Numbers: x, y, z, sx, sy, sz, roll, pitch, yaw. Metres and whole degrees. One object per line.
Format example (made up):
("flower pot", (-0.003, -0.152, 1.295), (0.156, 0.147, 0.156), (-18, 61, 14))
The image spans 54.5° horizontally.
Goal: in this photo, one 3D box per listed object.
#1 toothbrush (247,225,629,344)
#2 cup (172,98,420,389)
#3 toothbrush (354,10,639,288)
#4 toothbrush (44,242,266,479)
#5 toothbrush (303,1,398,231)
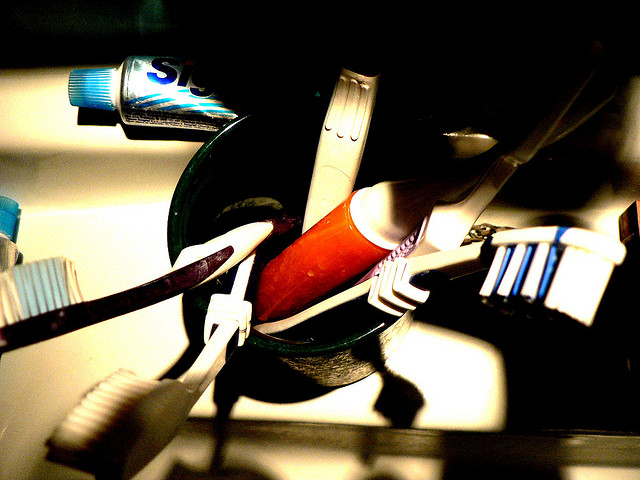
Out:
("toothbrush", (0.110, 0.043, 0.614), (0.292, 0.072, 0.050), (-18, -15, 31))
("cup", (-0.030, -0.020, 0.678), (0.278, 0.322, 0.186), (-1, -5, 1))
("toothbrush", (0.197, -0.094, 0.667), (0.046, 0.384, 0.055), (47, 15, 24))
("toothbrush", (-0.118, 0.076, 0.610), (0.056, 0.045, 0.387), (6, 24, 15))
("toothbrush", (0.038, -0.134, 0.695), (0.039, 0.267, 0.063), (13, -5, 14))
